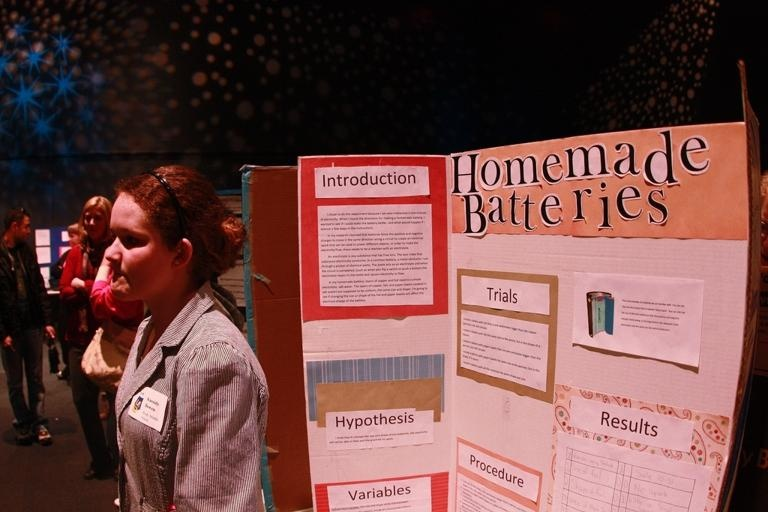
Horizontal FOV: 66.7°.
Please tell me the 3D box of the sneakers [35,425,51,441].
[{"bbox_3d":[-2.653,1.383,4.548,0.080,0.138,0.072,-11,-20,-39],"label":"sneakers"}]
